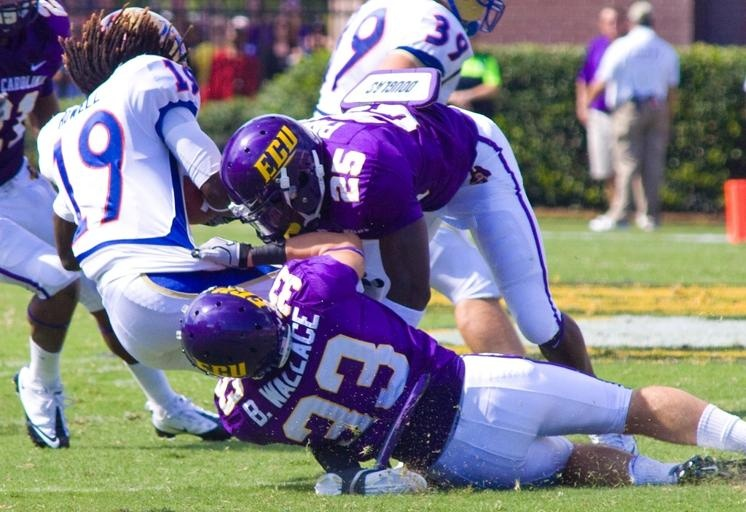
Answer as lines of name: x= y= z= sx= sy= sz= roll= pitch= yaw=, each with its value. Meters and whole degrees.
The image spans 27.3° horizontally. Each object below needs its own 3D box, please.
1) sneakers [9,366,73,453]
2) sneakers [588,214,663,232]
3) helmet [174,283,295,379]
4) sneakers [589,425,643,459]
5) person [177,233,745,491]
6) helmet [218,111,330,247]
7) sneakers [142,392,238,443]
sneakers: x=-1.596 y=0.730 z=7.421 sx=0.160 sy=0.193 sz=0.466 roll=5 pitch=49 yaw=-52
sneakers: x=1.275 y=-0.186 z=7.678 sx=0.118 sy=0.088 sz=0.275 roll=12 pitch=-14 yaw=-37
helmet: x=-0.553 y=0.293 z=6.379 sx=0.413 sy=0.323 sz=0.349 roll=16 pitch=9 yaw=3
sneakers: x=1.095 y=0.834 z=6.883 sx=0.228 sy=0.138 sz=0.180 roll=3 pitch=12 yaw=6
person: x=0.208 y=0.689 z=6.514 sx=1.809 sy=0.842 sz=1.206 roll=5 pitch=-17 yaw=-22
helmet: x=-0.431 y=-0.390 z=6.781 sx=0.521 sy=0.509 sz=0.385 roll=48 pitch=-10 yaw=-17
sneakers: x=-0.896 y=0.806 z=7.506 sx=0.478 sy=0.228 sz=0.178 roll=4 pitch=44 yaw=-13
